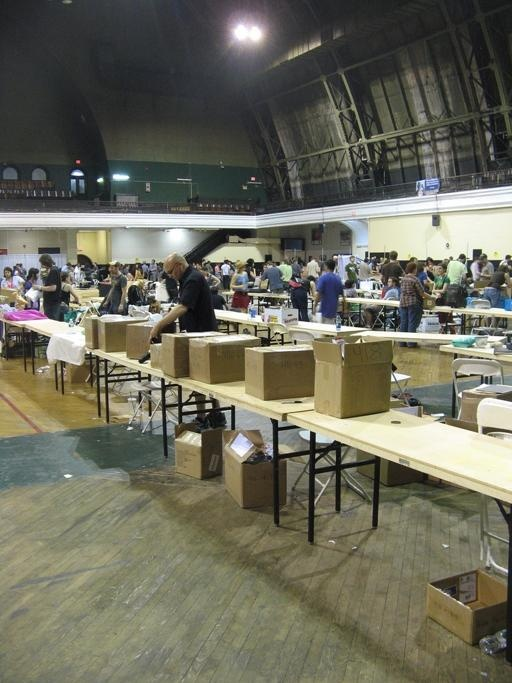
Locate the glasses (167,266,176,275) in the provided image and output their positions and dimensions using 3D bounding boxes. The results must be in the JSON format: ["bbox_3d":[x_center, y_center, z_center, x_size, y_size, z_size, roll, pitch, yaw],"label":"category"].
[{"bbox_3d":[-0.666,-0.551,4.036,0.047,0.071,0.049,-1,4,-10],"label":"glasses"}]

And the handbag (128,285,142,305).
[{"bbox_3d":[-2.238,-0.851,9.534,0.205,0.386,0.269,-20,54,-27],"label":"handbag"}]

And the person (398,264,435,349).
[{"bbox_3d":[2.692,-0.668,8.703,0.408,1.298,0.439,-10,15,-27],"label":"person"}]

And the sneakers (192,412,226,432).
[{"bbox_3d":[-0.354,0.619,4.025,0.206,0.088,0.148,0,2,37],"label":"sneakers"}]

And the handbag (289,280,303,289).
[{"bbox_3d":[0.754,-1.066,9.521,0.254,0.198,0.572,1,4,6],"label":"handbag"}]

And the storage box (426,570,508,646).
[{"bbox_3d":[0.791,0.980,1.917,0.233,0.139,0.229,-4,7,-33],"label":"storage box"}]

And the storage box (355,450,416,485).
[{"bbox_3d":[0.962,0.928,3.691,0.282,0.172,0.279,-2,6,-29],"label":"storage box"}]
